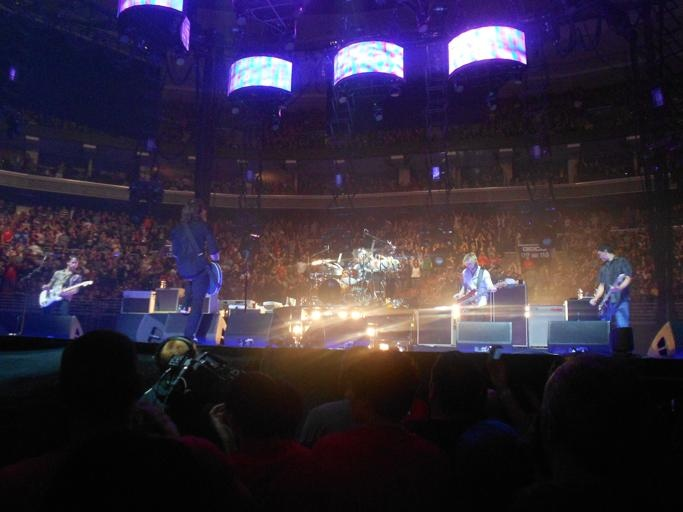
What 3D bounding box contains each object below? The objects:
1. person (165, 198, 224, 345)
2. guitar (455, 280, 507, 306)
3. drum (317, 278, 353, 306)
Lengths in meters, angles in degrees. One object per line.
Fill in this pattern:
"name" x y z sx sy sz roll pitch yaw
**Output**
"person" -2.268 0.200 8.780 0.732 2.270 0.678 7 -9 -43
"guitar" 2.834 0.739 10.986 1.217 0.498 0.614 -2 -7 26
"drum" -0.167 0.775 12.554 0.537 0.588 0.578 24 0 2
